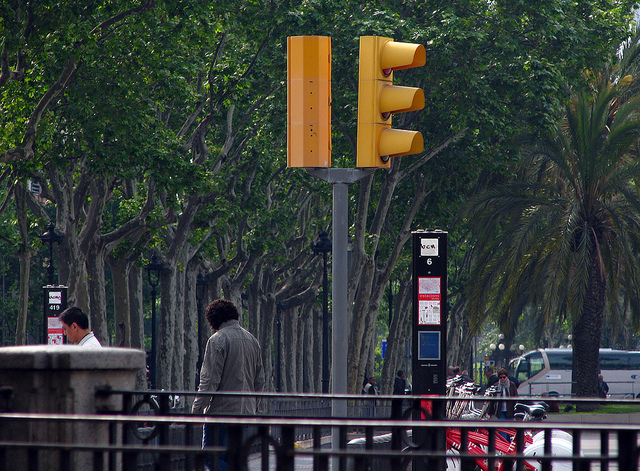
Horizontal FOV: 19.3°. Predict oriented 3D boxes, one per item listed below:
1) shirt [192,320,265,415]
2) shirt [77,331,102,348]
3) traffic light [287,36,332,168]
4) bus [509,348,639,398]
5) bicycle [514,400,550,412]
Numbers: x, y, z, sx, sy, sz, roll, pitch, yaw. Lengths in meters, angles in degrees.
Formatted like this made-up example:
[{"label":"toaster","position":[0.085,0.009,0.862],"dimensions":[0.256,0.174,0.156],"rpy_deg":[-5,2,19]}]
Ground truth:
[{"label":"shirt","position":[-2.019,2.866,41.957],"dimensions":[1.575,2.091,0.798],"rpy_deg":[1,-6,-9]},{"label":"shirt","position":[-5.129,2.282,41.482],"dimensions":[0.484,0.463,0.280],"rpy_deg":[-4,-1,11]},{"label":"traffic light","position":[-0.240,-2.960,40.754],"dimensions":[0.913,2.826,0.483],"rpy_deg":[0,-6,-6]},{"label":"bus","position":[10.377,5.339,75.630],"dimensions":[5.197,1.916,1.768],"rpy_deg":[2,-7,-21]},{"label":"bicycle","position":[4.874,3.823,42.851],"dimensions":[0.871,0.312,0.660],"rpy_deg":[3,-4,-10]}]
